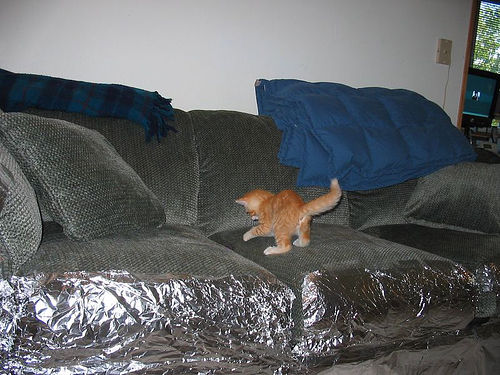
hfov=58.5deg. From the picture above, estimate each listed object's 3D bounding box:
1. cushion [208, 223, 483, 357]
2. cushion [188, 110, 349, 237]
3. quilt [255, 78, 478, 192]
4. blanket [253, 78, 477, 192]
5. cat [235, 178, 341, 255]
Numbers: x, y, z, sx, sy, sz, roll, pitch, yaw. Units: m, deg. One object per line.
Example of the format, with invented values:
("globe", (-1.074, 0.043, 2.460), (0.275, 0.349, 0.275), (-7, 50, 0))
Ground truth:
("cushion", (0.300, 0.234, 1.391), (0.414, 0.121, 0.404), (-3, 7, -16))
("cushion", (-0.041, -0.082, 1.801), (0.571, 0.527, 0.169), (-2, -10, -24))
("quilt", (0.411, -0.244, 2.082), (1.010, 0.491, 0.543), (-5, 13, -25))
("blanket", (0.401, -0.274, 2.057), (0.991, 0.492, 0.546), (-5, 14, -26))
("cat", (0.132, 0.097, 1.604), (0.189, 0.272, 0.436), (-4, 9, -43))
